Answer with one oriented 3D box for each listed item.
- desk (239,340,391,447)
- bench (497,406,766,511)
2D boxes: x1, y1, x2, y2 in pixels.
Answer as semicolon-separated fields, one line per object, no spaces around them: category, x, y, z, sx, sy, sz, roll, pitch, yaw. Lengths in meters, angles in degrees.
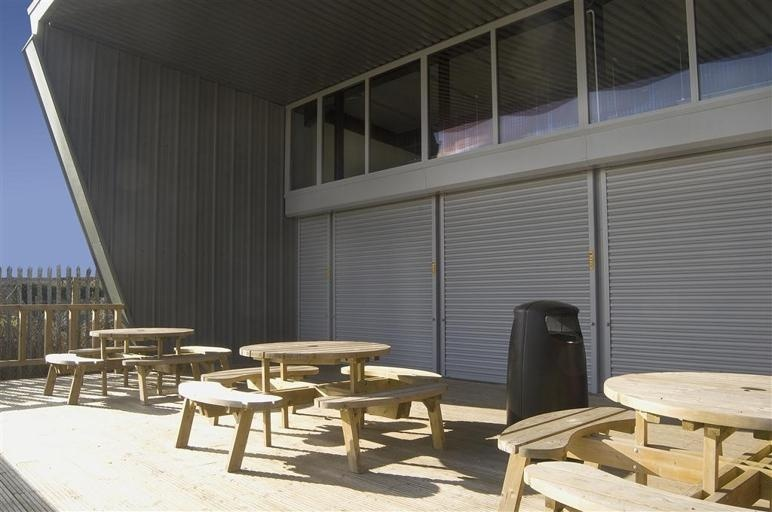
desk;-0.815;1.283;5.629;1.216;0.547;1.224;-4;-6;34
bench;1.714;1.459;4.020;1.116;0.264;1.139;4;-7;-42
